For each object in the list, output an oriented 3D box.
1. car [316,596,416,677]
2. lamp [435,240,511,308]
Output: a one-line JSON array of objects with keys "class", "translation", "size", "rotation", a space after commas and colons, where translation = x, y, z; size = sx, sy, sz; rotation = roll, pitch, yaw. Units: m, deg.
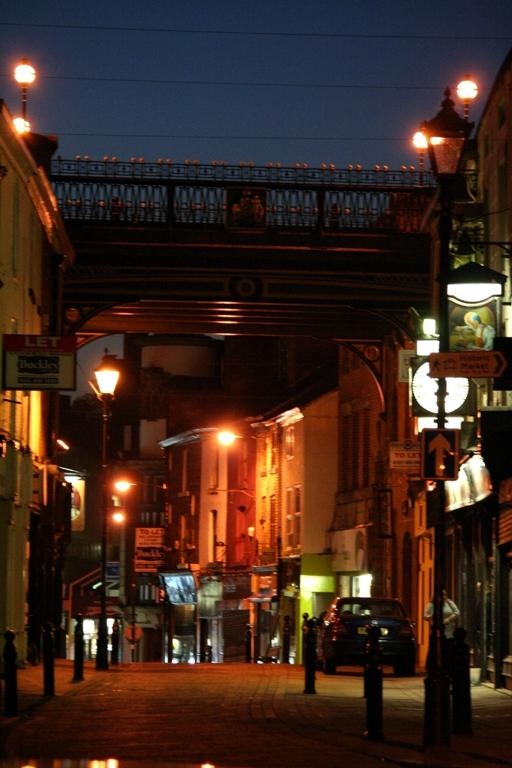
[{"class": "car", "translation": [1.779, 4.184, 27.416], "size": [1.126, 0.896, 2.524], "rotation": [1, -3, -2]}, {"class": "lamp", "translation": [2.571, -1.267, 19.589], "size": [0.734, 0.631, 0.813], "rotation": [0, 1, -2]}]
